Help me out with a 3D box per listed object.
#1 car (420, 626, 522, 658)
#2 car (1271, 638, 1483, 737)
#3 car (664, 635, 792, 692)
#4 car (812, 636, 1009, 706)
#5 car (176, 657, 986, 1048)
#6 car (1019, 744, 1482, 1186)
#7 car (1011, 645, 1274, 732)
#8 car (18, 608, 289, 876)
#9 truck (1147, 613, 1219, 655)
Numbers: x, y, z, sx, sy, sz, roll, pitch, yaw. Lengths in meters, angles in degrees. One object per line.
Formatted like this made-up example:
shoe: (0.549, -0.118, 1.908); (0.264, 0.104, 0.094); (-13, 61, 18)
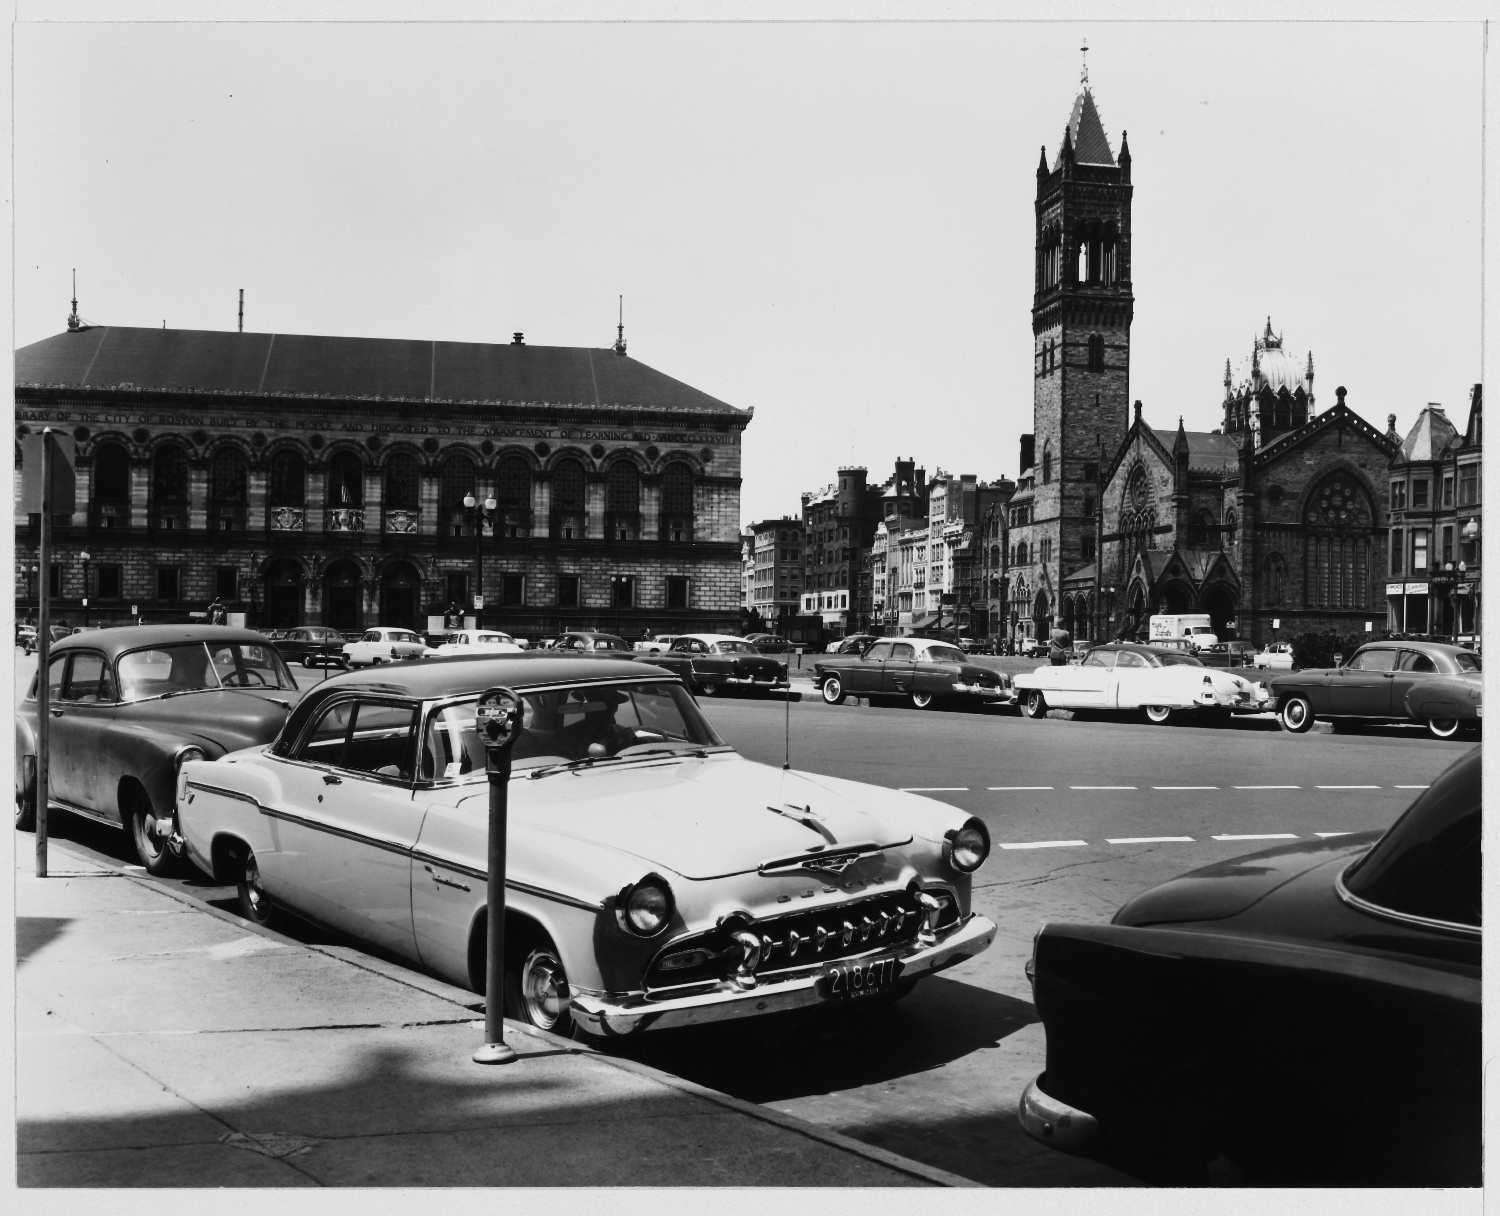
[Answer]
car: (-5.930, 0.651, 39.009); (1.299, 0.817, 2.186); (-1, 0, -28)
car: (8.051, 1.020, 24.407); (1.101, 0.895, 2.336); (2, 0, -35)
car: (-0.735, 1.058, 35.653); (1.179, 0.837, 2.445); (-1, 2, -33)
car: (2.689, 1.124, 31.033); (1.312, 0.979, 2.819); (1, 2, -38)
car: (-0.895, 1.080, 9.376); (3.714, 1.599, 1.965); (3, 2, 39)
car: (1.689, 1.310, 6.920); (1.153, 0.838, 1.822); (4, -6, -37)
car: (5.547, 1.153, 27.517); (0.683, 0.896, 4.209); (1, 2, -38)
car: (-3.990, 0.849, 12.964); (1.342, 1.081, 2.096); (-1, 3, -41)
truck: (14.799, 0.879, 65.852); (1.371, 1.274, 2.057); (-1, -1, -29)
